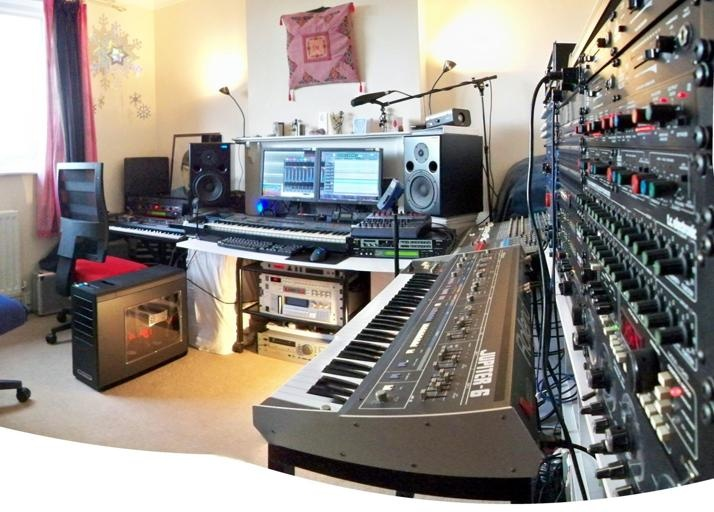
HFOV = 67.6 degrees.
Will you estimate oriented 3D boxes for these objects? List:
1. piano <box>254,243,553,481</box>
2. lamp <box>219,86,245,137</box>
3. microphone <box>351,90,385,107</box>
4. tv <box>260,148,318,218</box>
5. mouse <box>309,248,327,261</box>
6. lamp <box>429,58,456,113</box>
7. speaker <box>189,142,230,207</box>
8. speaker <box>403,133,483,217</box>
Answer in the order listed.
[{"bbox_3d":[0.191,0.183,1.269,0.494,0.168,0.901,0,16,19],"label":"piano"},{"bbox_3d":[-1.001,-1.198,4.312,0.204,0.415,0.458,-4,7,-14],"label":"lamp"},{"bbox_3d":[0.065,-0.896,2.994,0.170,0.090,0.237,-3,7,-1],"label":"microphone"},{"bbox_3d":[-0.423,-0.476,3.363,0.461,0.415,0.152,5,7,25],"label":"tv"},{"bbox_3d":[-0.195,-0.001,2.650,0.057,0.028,0.077,12,35,27],"label":"mouse"},{"bbox_3d":[0.552,-1.059,3.263,0.155,0.308,0.326,-3,6,-6],"label":"lamp"},{"bbox_3d":[-1.029,-0.564,3.691,0.290,0.441,0.145,-3,5,-3],"label":"speaker"},{"bbox_3d":[0.475,-0.452,2.912,0.364,0.414,0.303,-10,12,-40],"label":"speaker"}]
